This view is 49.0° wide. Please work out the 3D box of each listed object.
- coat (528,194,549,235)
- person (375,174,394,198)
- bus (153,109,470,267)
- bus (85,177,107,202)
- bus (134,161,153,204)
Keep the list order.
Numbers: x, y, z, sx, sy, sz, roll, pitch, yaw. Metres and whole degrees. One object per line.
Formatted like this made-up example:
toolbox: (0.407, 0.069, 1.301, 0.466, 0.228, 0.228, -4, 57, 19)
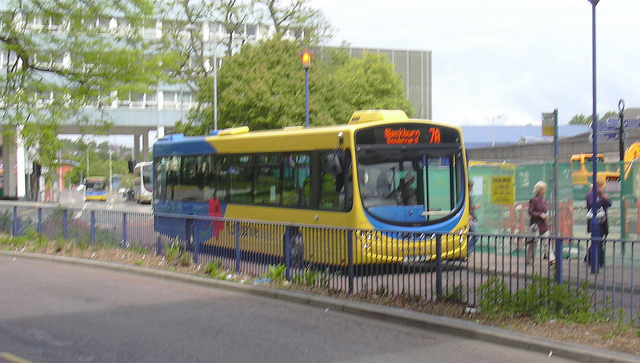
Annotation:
coat: (7.141, 1.033, 22.964, 0.676, 1.287, 0.365, 1, 1, 8)
person: (2.036, 0.129, 22.392, 0.552, 0.733, 0.177, 1, 1, -33)
bus: (-1.694, 0.312, 27.357, 4.551, 4.778, 15.004, -1, 1, -38)
bus: (-24.724, 0.798, 77.303, 1.796, 2.552, 3.088, 2, 1, 18)
bus: (-16.063, 0.018, 63.480, 0.880, 3.666, 5.504, 1, 1, -21)
